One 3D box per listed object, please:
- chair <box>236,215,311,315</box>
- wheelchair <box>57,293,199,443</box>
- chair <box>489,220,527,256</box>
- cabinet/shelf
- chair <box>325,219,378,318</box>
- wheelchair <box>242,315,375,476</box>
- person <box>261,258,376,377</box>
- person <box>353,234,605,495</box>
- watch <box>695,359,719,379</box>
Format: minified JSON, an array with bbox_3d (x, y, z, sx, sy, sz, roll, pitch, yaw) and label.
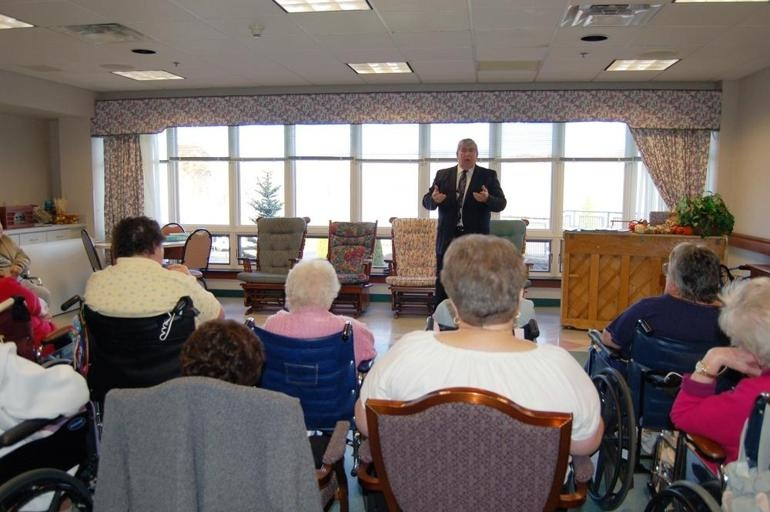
[{"bbox_3d":[-1.510,0.108,7.652,1.014,1.262,1.009,-3,9,-41],"label":"chair"},{"bbox_3d":[-1.386,0.623,3.290,0.607,0.896,0.873,2,8,-5],"label":"wheelchair"},{"bbox_3d":[1.677,-0.169,7.379,0.507,0.574,0.478,-5,3,-17],"label":"chair"},{"bbox_3d":[-3.825,0.130,6.291,0.429,1.024,1.104,-3,8,8],"label":"cabinet/shelf"},{"bbox_3d":[-0.533,0.152,7.603,0.838,1.222,0.819,2,8,12],"label":"chair"},{"bbox_3d":[-0.381,0.669,3.035,0.507,0.749,0.734,0,9,2],"label":"wheelchair"},{"bbox_3d":[-0.416,0.372,3.403,0.593,0.887,0.622,0,-12,-4],"label":"person"},{"bbox_3d":[0.397,0.304,2.426,0.717,1.069,1.013,1,12,7],"label":"person"},{"bbox_3d":[1.466,0.511,2.540,0.074,0.037,0.073,7,-2,-6],"label":"watch"}]
